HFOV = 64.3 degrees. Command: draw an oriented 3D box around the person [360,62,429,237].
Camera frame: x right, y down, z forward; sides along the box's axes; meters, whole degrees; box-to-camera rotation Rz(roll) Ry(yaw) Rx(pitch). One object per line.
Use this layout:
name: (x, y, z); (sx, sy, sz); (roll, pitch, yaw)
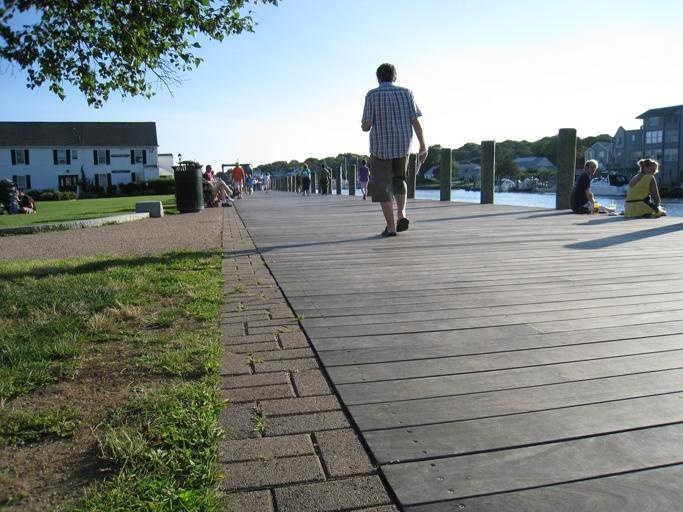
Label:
person: (0.726, -1.341, 7.728); (0.864, 2.146, 0.410); (-3, 9, -16)

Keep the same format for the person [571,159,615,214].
person: (5.509, -1.447, 11.808); (0.807, 1.173, 0.662); (6, 0, 24)

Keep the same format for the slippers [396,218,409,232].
slippers: (0.910, -0.428, 8.121); (0.100, 0.114, 0.288); (-3, -36, -11)

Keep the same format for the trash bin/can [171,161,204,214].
trash bin/can: (-4.642, -1.986, 16.595); (0.896, 1.420, 0.899); (7, 13, 43)

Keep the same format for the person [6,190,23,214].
person: (-11.743, -1.918, 19.493); (0.409, 0.823, 0.905); (-6, 10, -32)

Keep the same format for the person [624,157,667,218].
person: (6.023, -1.313, 10.726); (0.673, 1.108, 0.976); (4, 10, 31)
